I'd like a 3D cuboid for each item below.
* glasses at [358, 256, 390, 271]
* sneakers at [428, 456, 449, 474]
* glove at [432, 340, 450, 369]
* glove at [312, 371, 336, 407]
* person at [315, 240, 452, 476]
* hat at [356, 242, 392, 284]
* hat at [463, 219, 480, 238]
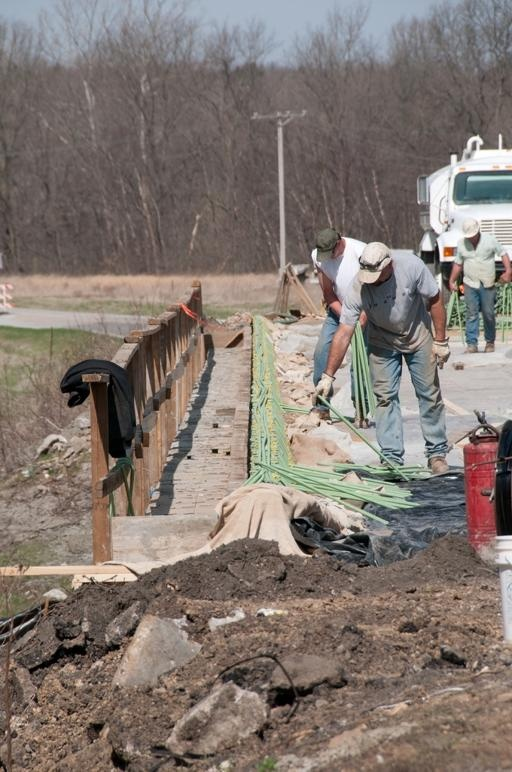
[{"bbox_3d":[0.703,-0.727,7.265,0.178,0.089,0.113,-6,7,6],"label":"glasses"},{"bbox_3d":[1.136,0.483,7.642,0.121,0.088,0.241,-6,8,4],"label":"sneakers"},{"bbox_3d":[1.197,-0.208,7.941,0.105,0.184,0.060,4,3,11],"label":"glove"},{"bbox_3d":[0.419,0.020,7.712,0.129,0.208,0.344,-5,8,2],"label":"glove"},{"bbox_3d":[0.870,-0.178,7.739,0.930,1.484,0.608,-11,9,-41],"label":"person"},{"bbox_3d":[0.704,-0.743,7.316,0.158,0.256,0.142,13,-23,24],"label":"hat"},{"bbox_3d":[2.315,-1.696,13.223,0.166,0.214,0.251,-5,8,9],"label":"hat"}]
